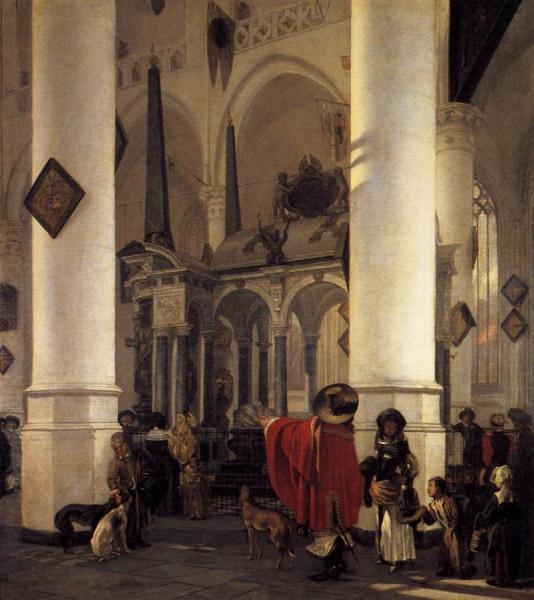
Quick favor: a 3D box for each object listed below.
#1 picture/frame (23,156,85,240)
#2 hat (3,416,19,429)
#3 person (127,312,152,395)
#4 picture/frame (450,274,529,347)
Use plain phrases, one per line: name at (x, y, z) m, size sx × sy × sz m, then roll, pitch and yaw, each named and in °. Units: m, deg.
picture/frame at (-2.874, -1.331, 18.794) m, size 0.891 × 1.066 × 0.332 m, roll -8°, pitch -11°, yaw 31°
hat at (-4.719, 2.308, 25.843) m, size 0.292 × 0.216 × 0.333 m, roll 3°, pitch -44°, yaw -2°
person at (-2.354, 1.163, 25.845) m, size 0.457 × 1.634 × 1.056 m, roll 0°, pitch -10°, yaw -10°
picture/frame at (4.874, 0.297, 30.143) m, size 0.075 × 1.382 × 1.647 m, roll 6°, pitch -7°, yaw -39°
